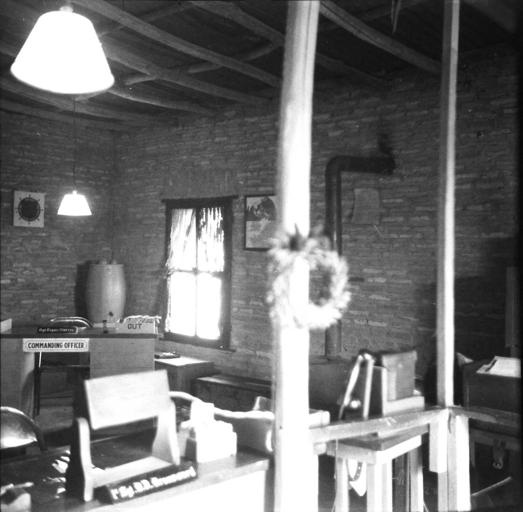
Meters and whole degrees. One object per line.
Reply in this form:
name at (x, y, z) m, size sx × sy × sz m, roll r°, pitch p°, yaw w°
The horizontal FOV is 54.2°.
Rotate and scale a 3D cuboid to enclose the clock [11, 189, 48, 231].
clock at (-0.638, -0.132, 1.407) m, size 0.079 × 0.114 × 0.012 m, roll -1°, pitch 38°, yaw -28°
